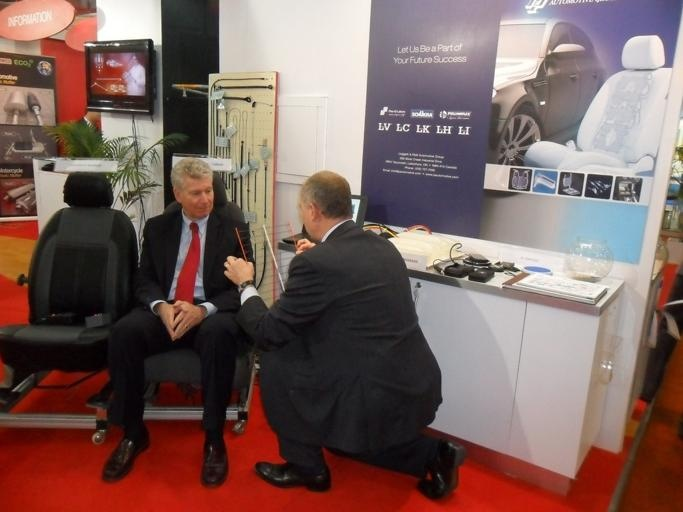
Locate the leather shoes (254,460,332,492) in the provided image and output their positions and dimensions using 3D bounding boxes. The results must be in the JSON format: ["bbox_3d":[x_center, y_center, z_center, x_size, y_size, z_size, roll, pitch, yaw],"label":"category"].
[{"bbox_3d":[-0.249,1.134,2.548,0.395,0.156,0.152,9,-1,6],"label":"leather shoes"}]

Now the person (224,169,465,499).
[{"bbox_3d":[-0.040,0.411,2.336,1.005,1.592,0.446,9,15,23],"label":"person"}]

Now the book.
[{"bbox_3d":[1.110,0.155,2.519,0.477,0.042,0.312,12,17,30],"label":"book"}]

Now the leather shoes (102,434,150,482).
[{"bbox_3d":[-1.139,1.055,2.548,0.090,0.100,0.259,8,15,9],"label":"leather shoes"}]

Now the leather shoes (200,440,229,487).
[{"bbox_3d":[-0.658,1.077,2.496,0.091,0.098,0.239,0,32,-11],"label":"leather shoes"}]
